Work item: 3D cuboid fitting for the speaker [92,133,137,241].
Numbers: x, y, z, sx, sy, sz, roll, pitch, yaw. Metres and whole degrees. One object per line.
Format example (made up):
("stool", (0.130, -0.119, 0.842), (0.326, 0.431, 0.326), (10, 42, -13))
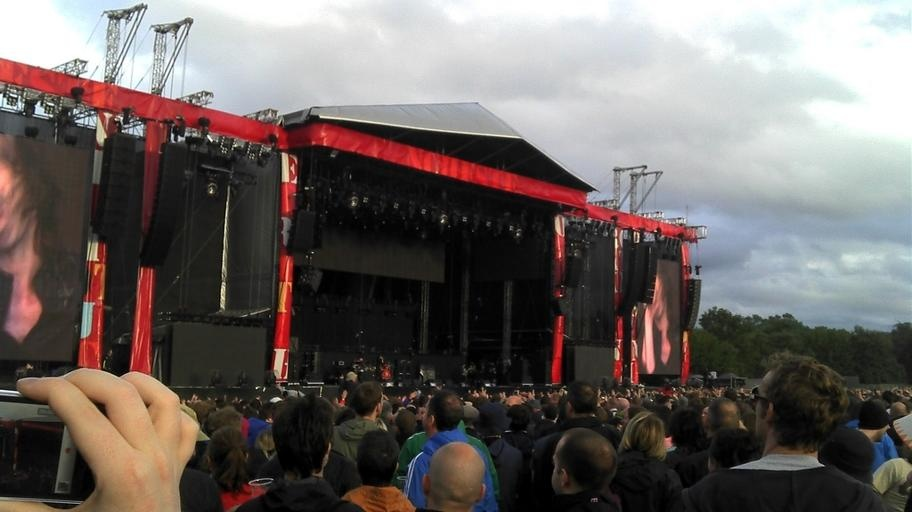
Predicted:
("speaker", (-10.459, -2.223, 26.599), (0.976, 3.123, 0.771), (5, -11, -6))

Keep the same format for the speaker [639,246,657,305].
("speaker", (8.863, 0.834, 40.315), (0.706, 2.518, 1.151), (2, -11, 10))

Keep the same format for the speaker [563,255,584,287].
("speaker", (5.014, 0.597, 37.841), (1.283, 1.283, 0.477), (-11, 14, -28))

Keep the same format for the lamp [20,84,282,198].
("lamp", (-9.911, -3.512, 27.001), (5.742, 2.617, 1.174), (19, 1, -34))
